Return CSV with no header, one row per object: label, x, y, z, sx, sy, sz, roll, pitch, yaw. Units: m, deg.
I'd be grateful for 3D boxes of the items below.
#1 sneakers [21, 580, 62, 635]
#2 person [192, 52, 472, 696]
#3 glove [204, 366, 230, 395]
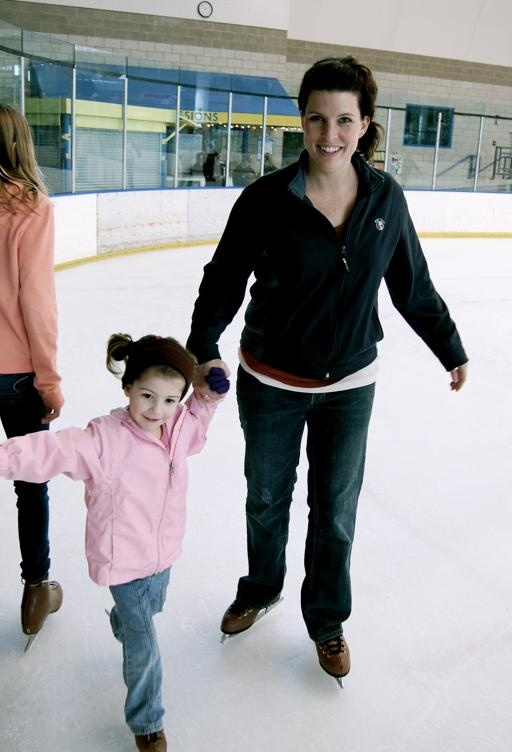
sneakers,-0.526,0.568,1.619,0.058,0.107,0.155,4,24,9
person,0.153,0.002,1.445,0.650,1.296,0.403,-3,14,-18
glove,-0.077,0.011,1.337,0.018,0.054,0.056,-10,17,13
